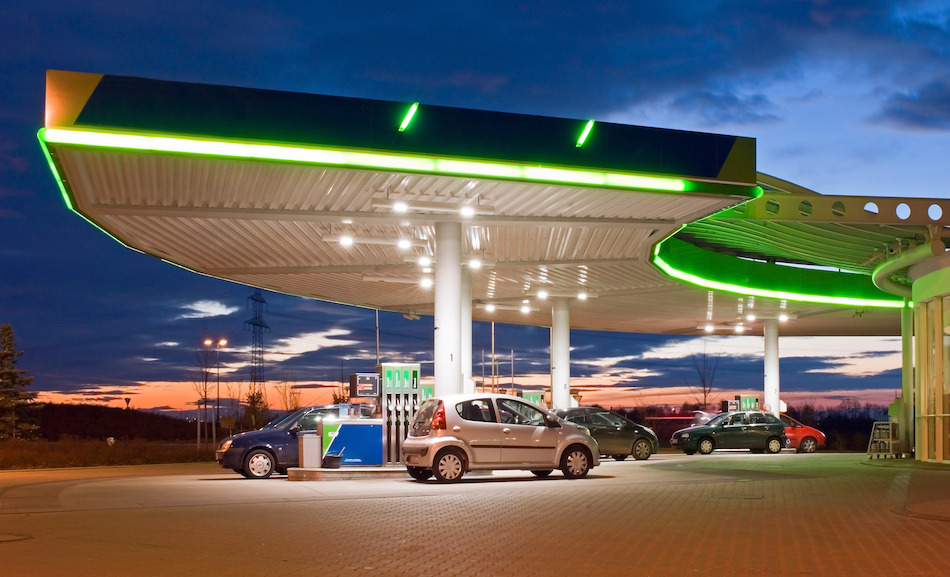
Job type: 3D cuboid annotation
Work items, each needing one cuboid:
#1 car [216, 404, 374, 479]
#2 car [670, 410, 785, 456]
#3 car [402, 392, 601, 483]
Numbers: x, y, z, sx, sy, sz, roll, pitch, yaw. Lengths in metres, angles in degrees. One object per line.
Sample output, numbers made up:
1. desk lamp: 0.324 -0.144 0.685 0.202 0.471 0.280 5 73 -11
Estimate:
1. car: -4.878 4.395 21.545 4.865 1.649 2.104 3 -8 -14
2. car: 10.467 5.962 30.691 4.494 1.325 1.876 3 -9 -13
3. car: 0.543 3.624 18.702 4.139 1.468 2.237 0 -5 -18
